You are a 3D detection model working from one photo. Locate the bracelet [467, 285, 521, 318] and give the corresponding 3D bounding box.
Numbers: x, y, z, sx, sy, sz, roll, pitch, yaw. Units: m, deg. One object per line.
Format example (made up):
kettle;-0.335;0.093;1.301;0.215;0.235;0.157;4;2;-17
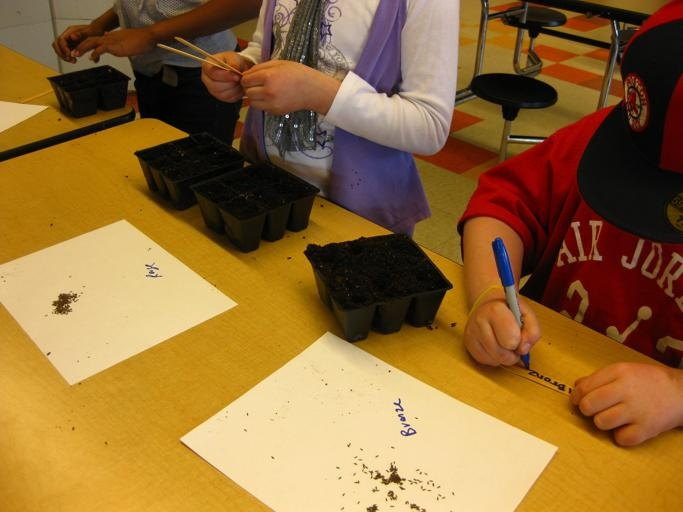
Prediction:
bracelet;0.280;0.080;0.963;0.070;0.019;0.069;-22;28;7
